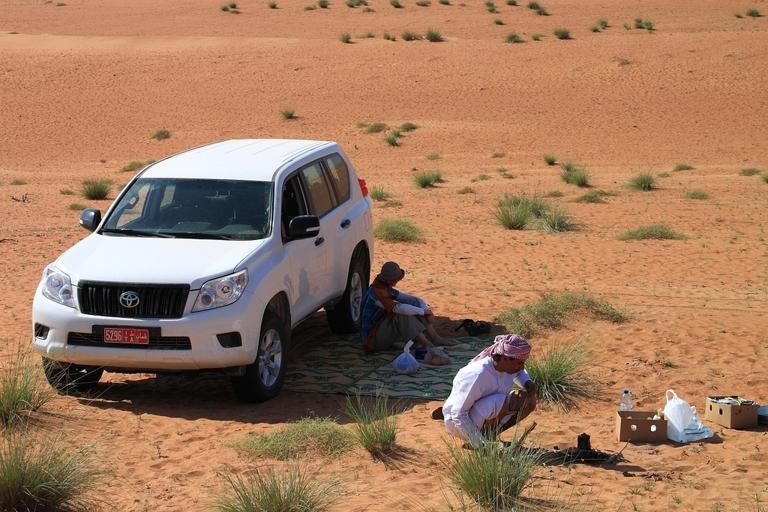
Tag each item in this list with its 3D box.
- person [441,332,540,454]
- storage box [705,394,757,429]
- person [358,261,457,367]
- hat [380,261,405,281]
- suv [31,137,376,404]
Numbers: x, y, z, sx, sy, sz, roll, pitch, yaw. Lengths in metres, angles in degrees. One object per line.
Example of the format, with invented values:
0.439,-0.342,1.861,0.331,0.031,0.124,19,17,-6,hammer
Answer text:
1.191,1.560,8.766,0.957,1.343,1.092,13,15,34,person
4.137,1.842,9.365,0.446,0.225,0.412,0,3,-17,storage box
0.531,0.677,11.269,1.707,1.369,1.170,3,27,6,person
0.080,0.214,10.978,0.287,0.304,0.284,-23,38,-37,hat
-2.213,0.297,10.518,2.794,2.794,4.117,14,31,22,suv
